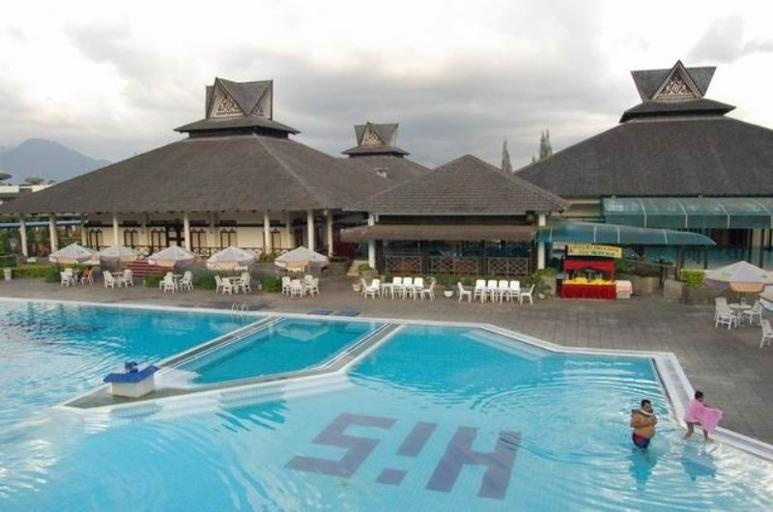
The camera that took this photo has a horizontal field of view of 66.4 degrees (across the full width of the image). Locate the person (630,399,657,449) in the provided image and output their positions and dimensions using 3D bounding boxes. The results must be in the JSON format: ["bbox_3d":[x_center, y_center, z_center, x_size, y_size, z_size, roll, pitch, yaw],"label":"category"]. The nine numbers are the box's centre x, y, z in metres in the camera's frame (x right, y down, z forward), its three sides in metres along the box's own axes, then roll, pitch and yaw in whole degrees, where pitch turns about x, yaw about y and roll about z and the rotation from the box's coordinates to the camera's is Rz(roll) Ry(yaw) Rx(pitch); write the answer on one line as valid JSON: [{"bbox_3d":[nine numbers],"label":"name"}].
[{"bbox_3d":[8.848,5.680,20.314,0.750,1.629,0.987,5,16,27],"label":"person"}]

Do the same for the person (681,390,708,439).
[{"bbox_3d":[10.684,5.465,20.344,0.754,1.582,0.768,4,15,23],"label":"person"}]

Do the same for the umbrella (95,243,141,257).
[{"bbox_3d":[-17.358,-0.258,38.327,2.199,0.706,1.791,-3,13,-6],"label":"umbrella"}]
